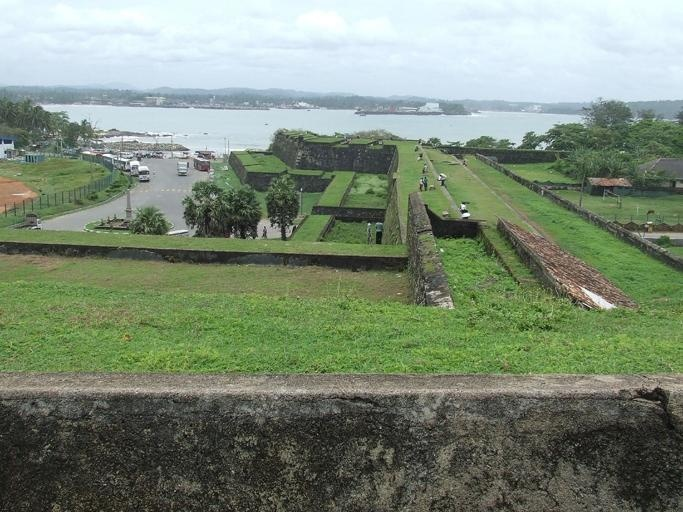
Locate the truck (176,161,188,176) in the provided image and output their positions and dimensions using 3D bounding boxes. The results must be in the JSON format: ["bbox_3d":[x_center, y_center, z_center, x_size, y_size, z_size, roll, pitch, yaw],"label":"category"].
[{"bbox_3d":[-19.636,-10.709,69.626,1.840,1.242,2.733,-1,7,-13],"label":"truck"}]

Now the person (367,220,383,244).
[{"bbox_3d":[1.536,-1.232,29.435,1.156,0.951,1.723,3,9,5],"label":"person"}]

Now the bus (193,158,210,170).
[{"bbox_3d":[-18.558,-12.218,75.510,1.559,1.054,4.185,-3,19,-23],"label":"bus"}]
